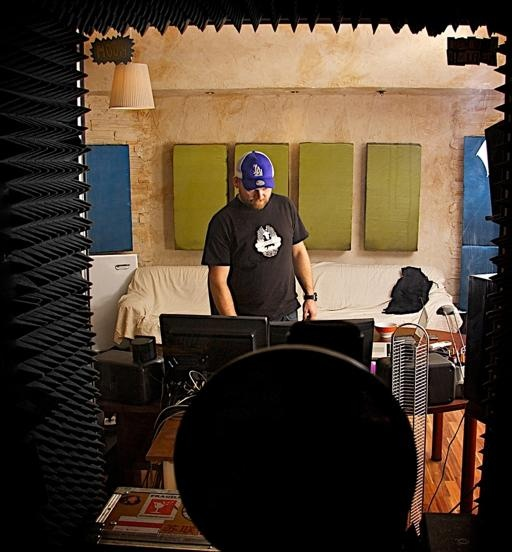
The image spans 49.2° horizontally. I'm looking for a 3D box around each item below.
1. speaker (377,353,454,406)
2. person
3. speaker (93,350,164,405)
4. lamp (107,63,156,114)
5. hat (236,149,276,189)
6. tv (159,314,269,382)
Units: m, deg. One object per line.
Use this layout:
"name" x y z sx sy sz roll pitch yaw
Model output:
"speaker" 0.656 0.452 2.360 0.301 0.238 0.189 1 1 -3
"person" 0.056 -0.221 3.047 0.690 0.886 0.300 5 -1 -35
"speaker" -0.563 0.438 2.429 0.254 0.195 0.150 7 14 17
"lamp" -0.807 -1.210 3.668 0.267 0.314 0.289 -3 -3 4
"hat" 0.004 -0.561 2.953 0.192 0.177 0.325 -6 25 -18
"tv" -0.137 0.214 1.750 0.265 0.265 0.094 3 18 11
